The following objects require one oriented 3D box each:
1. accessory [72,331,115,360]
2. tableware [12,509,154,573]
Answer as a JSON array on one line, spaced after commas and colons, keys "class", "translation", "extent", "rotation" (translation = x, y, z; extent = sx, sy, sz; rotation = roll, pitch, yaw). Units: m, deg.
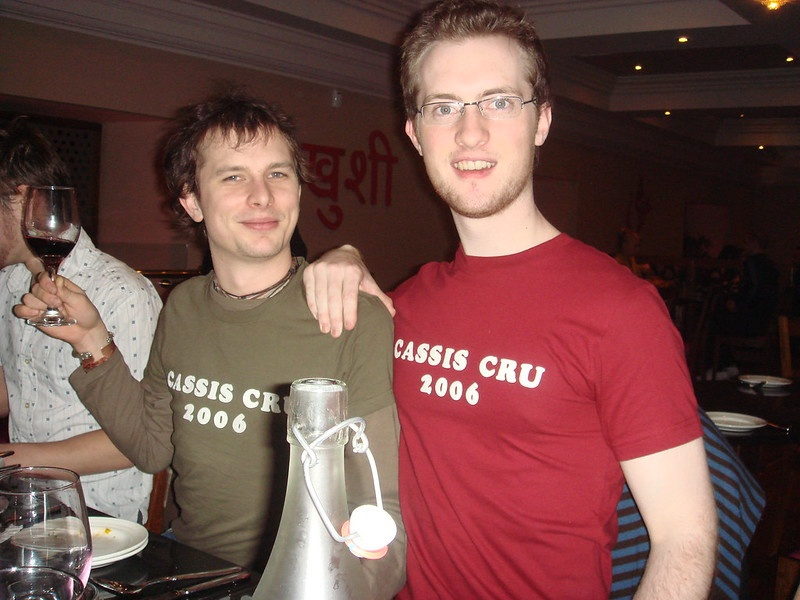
[{"class": "accessory", "translation": [-0.859, 0.148, 1.907], "extent": [0.098, 0.039, 0.085], "rotation": [-31, 22, -22]}, {"class": "tableware", "translation": [-0.636, 0.485, 1.343], "extent": [0.200, 0.033, 0.198], "rotation": [3, 6, -5]}]
